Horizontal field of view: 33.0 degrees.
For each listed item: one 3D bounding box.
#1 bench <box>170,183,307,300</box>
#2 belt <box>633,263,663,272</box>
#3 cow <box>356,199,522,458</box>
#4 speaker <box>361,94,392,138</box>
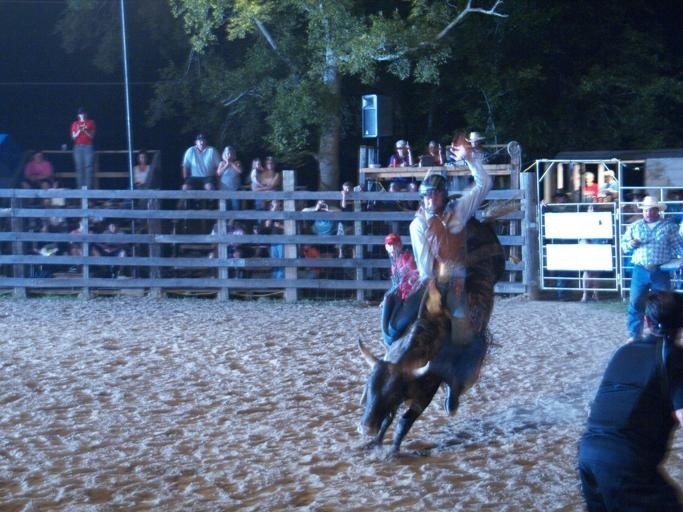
[{"bbox_3d":[-2.021,-0.201,23.961,2.924,2.247,0.571,1,-5,3],"label":"bench"},{"bbox_3d":[5.221,0.225,19.715,0.489,0.172,0.173,5,13,22],"label":"belt"},{"bbox_3d":[1.254,1.164,16.210,1.280,3.154,2.765,12,17,40],"label":"cow"},{"bbox_3d":[0.825,-3.273,27.299,0.699,1.008,0.575,-1,13,-7],"label":"speaker"}]
